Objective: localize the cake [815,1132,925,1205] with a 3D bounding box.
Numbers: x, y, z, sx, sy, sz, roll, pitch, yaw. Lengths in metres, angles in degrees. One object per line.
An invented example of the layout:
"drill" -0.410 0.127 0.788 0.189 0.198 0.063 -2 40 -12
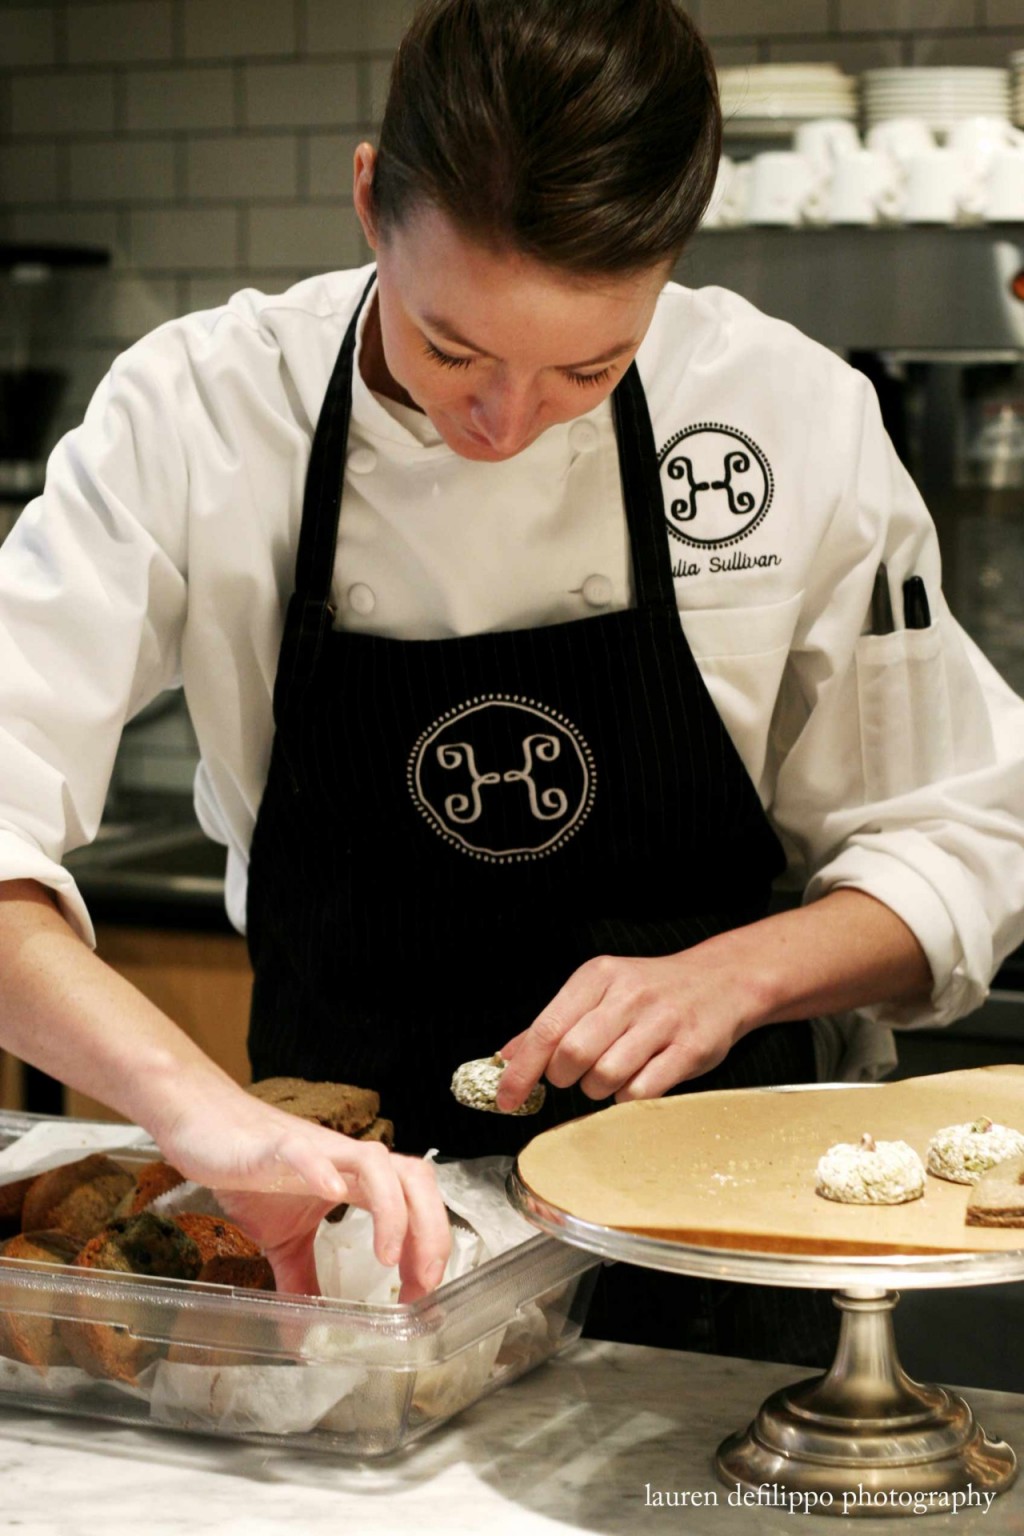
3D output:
"cake" 0.169 0.193 0.706 0.038 0.020 0.036 -1 -1 -6

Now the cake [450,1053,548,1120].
"cake" -0.008 0.197 0.933 0.053 0.022 0.050 6 1 -15
